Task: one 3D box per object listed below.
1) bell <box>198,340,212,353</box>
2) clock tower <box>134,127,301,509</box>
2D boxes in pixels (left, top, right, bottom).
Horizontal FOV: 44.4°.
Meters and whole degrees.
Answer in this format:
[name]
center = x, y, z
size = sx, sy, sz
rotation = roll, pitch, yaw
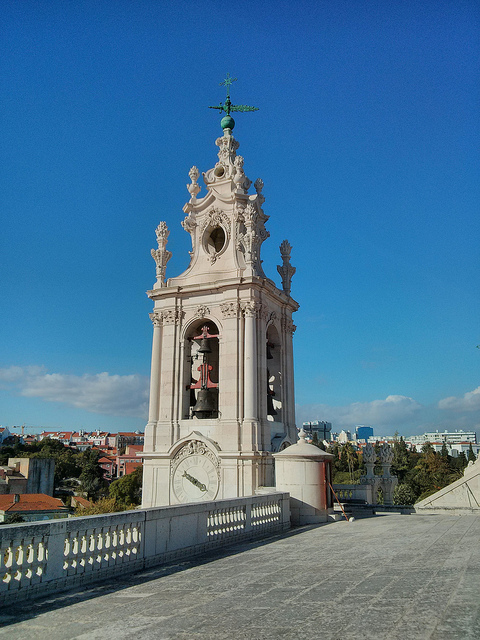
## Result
[bell]
center = -1.608, 1.343, 28.396
size = 0.599, 0.637, 0.584
rotation = 18, -26, -30
[clock tower]
center = -1.090, -1.418, 30.248
size = 7.049, 20.724, 5.062
rotation = -3, -16, 1
